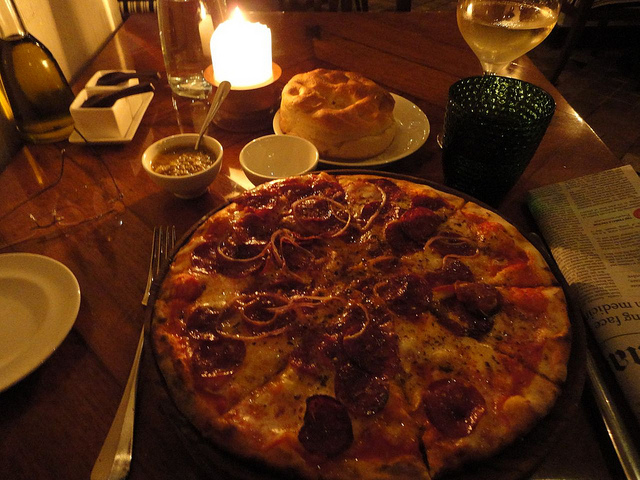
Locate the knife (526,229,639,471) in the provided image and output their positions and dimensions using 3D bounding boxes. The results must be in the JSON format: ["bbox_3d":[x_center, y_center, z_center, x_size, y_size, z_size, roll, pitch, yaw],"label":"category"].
[{"bbox_3d":[0.719,0.248,1.426,0.095,0.037,0.755,-15,67,8],"label":"knife"}]

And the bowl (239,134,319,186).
[{"bbox_3d":[-0.149,-0.317,1.880,0.216,0.130,0.232,0,46,0],"label":"bowl"}]

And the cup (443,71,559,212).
[{"bbox_3d":[0.628,-0.357,1.775,0.359,0.446,0.374,1,33,-1],"label":"cup"}]

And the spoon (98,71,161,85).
[{"bbox_3d":[-0.824,-0.702,2.134,0.182,0.047,0.110,1,44,-5],"label":"spoon"}]

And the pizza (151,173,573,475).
[{"bbox_3d":[0.116,0.214,1.433,1.167,0.110,0.850,5,54,3],"label":"pizza"}]

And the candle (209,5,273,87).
[{"bbox_3d":[-0.287,-0.768,2.120,0.280,0.338,0.298,-5,49,-6],"label":"candle"}]
